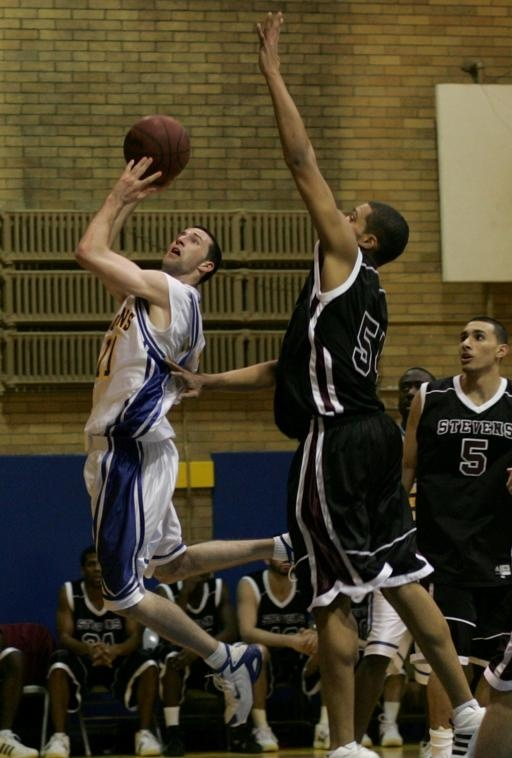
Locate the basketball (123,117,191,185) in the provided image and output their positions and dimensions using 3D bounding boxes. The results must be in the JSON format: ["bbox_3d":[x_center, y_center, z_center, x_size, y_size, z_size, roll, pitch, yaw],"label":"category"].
[{"bbox_3d":[-0.429,-0.975,5.580,0.297,0.301,0.295,-17,23,-37],"label":"basketball"}]

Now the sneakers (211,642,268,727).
[{"bbox_3d":[-0.082,1.262,5.559,0.221,0.404,0.151,-3,8,-14],"label":"sneakers"}]

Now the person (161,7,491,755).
[{"bbox_3d":[0.419,0.141,4.728,0.588,2.468,0.802,-3,9,-25],"label":"person"}]
